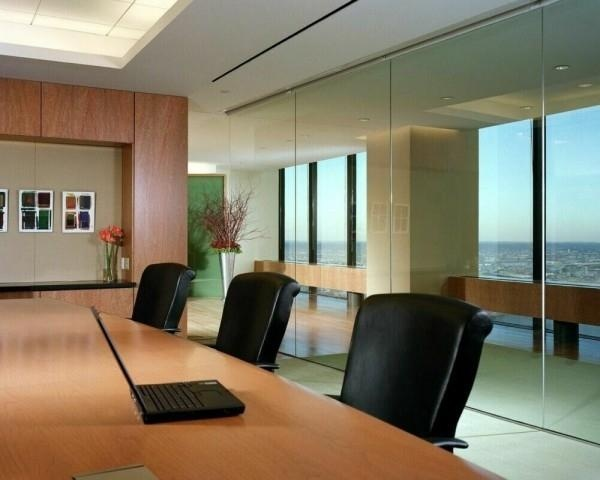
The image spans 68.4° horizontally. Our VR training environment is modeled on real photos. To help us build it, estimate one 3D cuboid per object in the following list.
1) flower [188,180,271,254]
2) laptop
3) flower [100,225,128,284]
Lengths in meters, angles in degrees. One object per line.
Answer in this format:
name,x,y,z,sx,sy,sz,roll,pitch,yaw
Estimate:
flower,-0.891,-0.244,6.717,0.800,0.692,0.998,7,4,-15
laptop,-0.410,0.378,1.357,0.378,0.256,0.412,1,-7,-27
flower,-2.392,0.153,5.642,0.306,0.723,0.404,-2,1,-24
